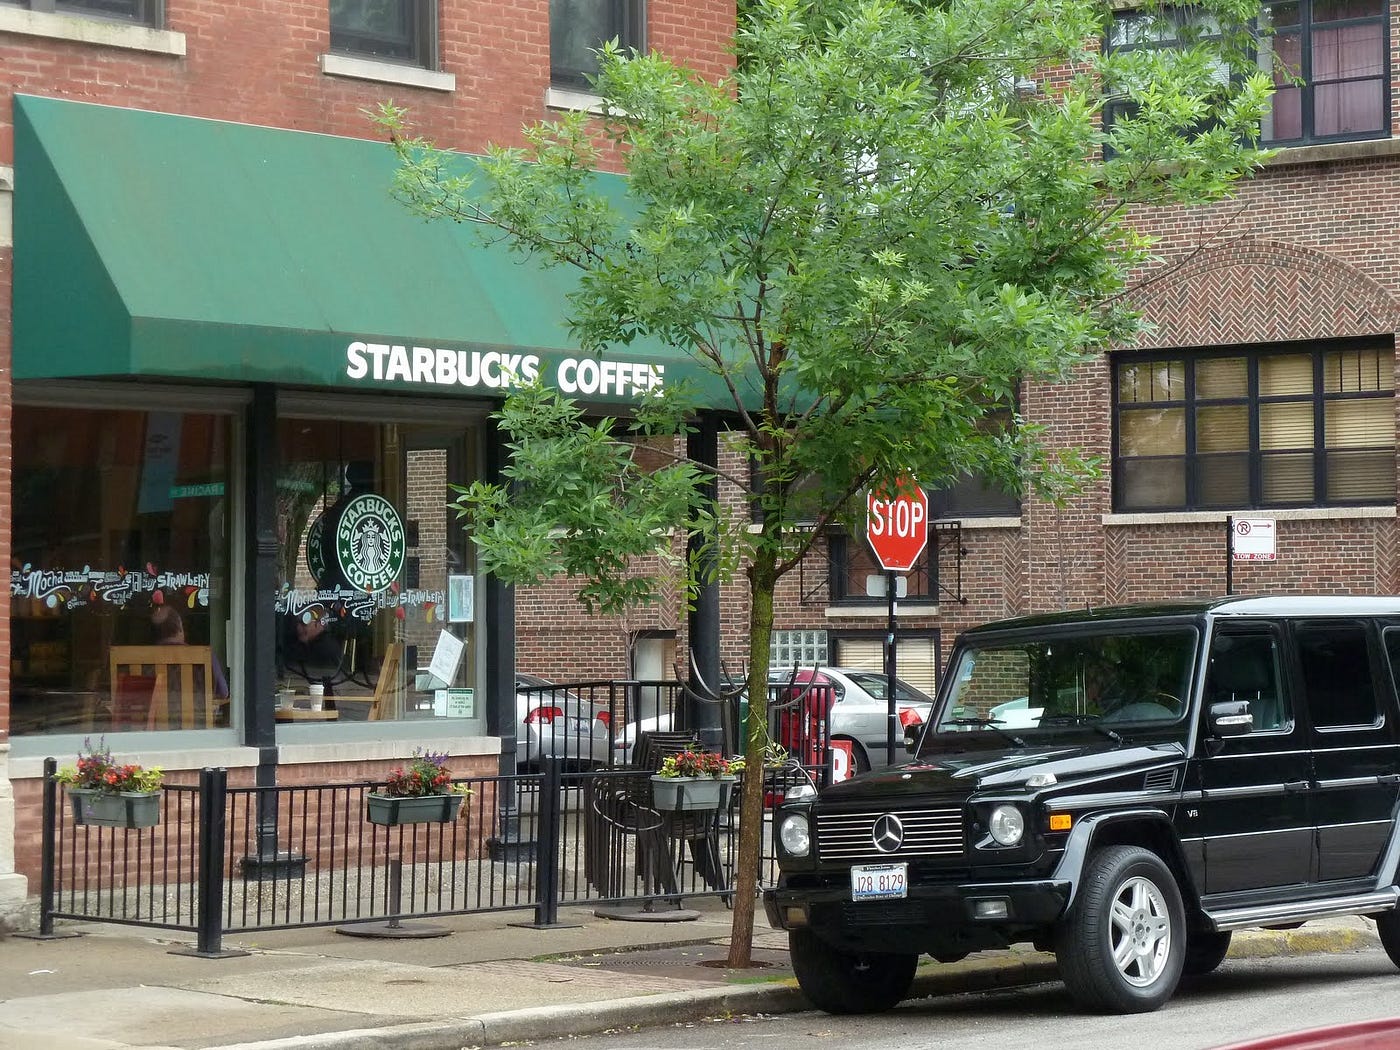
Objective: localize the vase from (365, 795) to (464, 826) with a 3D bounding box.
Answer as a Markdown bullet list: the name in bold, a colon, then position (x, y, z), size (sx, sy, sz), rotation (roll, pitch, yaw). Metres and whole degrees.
- **vase**: position (-2.168, 2.088, 17.452), size (0.516, 0.148, 0.297), rotation (4, -10, -29)

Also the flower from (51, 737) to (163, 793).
- **flower**: position (-4.250, 1.743, 17.112), size (0.575, 0.277, 0.456), rotation (-1, -4, 25)

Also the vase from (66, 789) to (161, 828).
- **vase**: position (-4.235, 2.025, 17.056), size (0.705, 0.276, 0.264), rotation (-4, -5, 26)

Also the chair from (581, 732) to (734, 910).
- **chair**: position (-0.503, 2.349, 18.967), size (1.352, 1.553, 1.322), rotation (0, -3, 39)

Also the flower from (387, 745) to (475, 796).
- **flower**: position (-2.038, 1.853, 17.561), size (0.564, 0.287, 0.317), rotation (-1, -4, -7)

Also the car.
- **car**: position (0.275, 2.191, 27.926), size (4.830, 1.349, 2.007), rotation (-1, -4, -13)
